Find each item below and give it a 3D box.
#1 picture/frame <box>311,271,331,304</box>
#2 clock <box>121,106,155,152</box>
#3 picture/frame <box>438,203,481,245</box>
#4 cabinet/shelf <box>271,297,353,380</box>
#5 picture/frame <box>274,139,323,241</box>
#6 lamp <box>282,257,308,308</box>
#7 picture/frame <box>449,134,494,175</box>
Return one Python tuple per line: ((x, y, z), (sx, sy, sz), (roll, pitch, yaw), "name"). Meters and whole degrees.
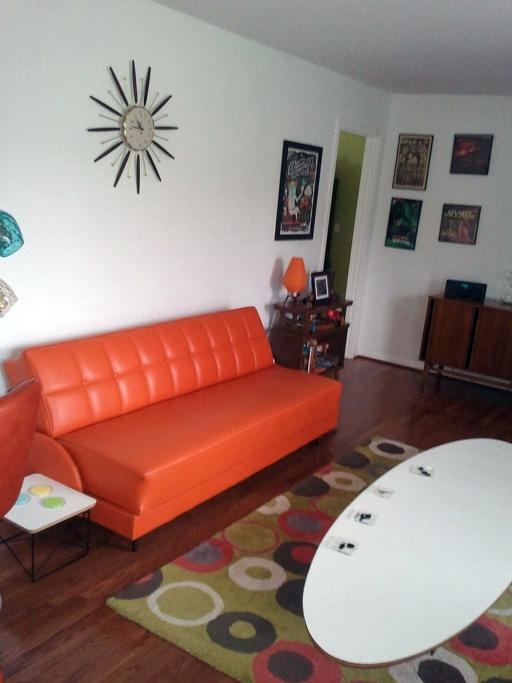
((0.549, -0.455, 4.331), (0.025, 0.232, 0.231), (3, 27, 34), "picture/frame")
((-0.610, -1.126, 2.695), (0.235, 0.228, 0.027), (18, 23, 38), "clock")
((1.876, -1.080, 4.646), (0.347, 0.364, 0.039), (19, 25, 31), "picture/frame")
((0.433, -0.035, 4.175), (0.328, 0.510, 0.609), (17, 24, 35), "cabinet/shelf")
((0.325, -1.244, 4.088), (0.043, 0.931, 0.823), (15, 12, 25), "picture/frame")
((0.310, -0.490, 4.145), (0.184, 0.385, 0.439), (5, 12, 2), "lamp")
((1.925, -1.667, 4.505), (0.333, 0.348, 0.036), (22, 24, 33), "picture/frame")
